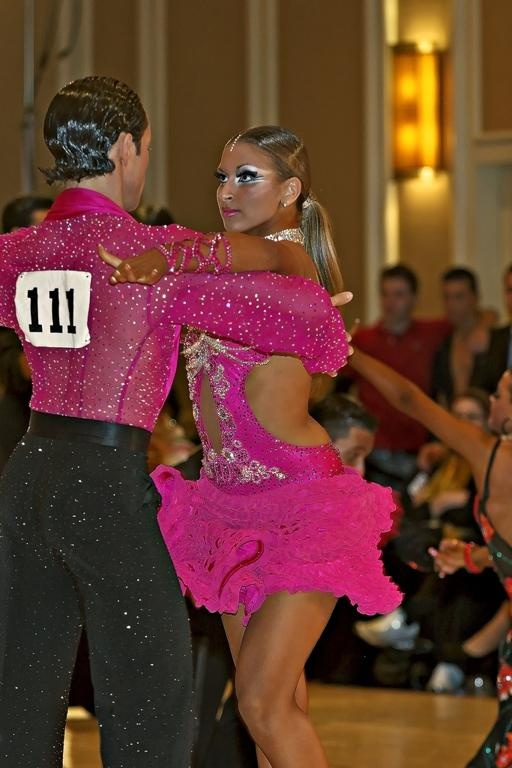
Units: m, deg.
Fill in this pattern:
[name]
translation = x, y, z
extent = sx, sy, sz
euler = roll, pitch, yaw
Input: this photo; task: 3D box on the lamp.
[lamp]
translation = 1.146, -1.975, 5.574
extent = 0.219, 0.928, 0.483
euler = -3, 8, -37
